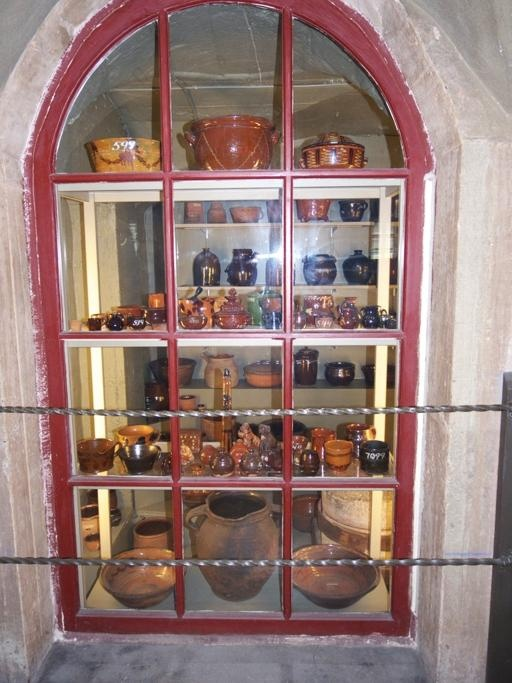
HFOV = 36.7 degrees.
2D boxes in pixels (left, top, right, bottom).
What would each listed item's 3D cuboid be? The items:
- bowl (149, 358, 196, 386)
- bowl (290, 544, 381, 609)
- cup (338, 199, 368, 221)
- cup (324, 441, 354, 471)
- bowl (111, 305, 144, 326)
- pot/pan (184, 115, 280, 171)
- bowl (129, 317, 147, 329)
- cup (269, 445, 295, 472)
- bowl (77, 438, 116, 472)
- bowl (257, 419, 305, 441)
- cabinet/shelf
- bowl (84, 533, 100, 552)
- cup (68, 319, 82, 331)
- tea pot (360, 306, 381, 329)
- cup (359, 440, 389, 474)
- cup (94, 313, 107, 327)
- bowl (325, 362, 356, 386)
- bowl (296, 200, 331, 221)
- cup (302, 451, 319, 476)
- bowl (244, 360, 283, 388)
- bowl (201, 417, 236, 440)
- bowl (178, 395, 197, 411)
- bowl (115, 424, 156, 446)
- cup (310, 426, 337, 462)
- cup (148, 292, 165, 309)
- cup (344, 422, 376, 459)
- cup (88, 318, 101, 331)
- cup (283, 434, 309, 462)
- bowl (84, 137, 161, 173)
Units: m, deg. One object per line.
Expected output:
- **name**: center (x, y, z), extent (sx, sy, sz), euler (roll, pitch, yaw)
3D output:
- **bowl**: center (-0.293, 0.095, 2.665), extent (0.134, 0.049, 0.120), euler (0, 10, -9)
- **bowl**: center (0.223, 0.638, 2.156), extent (0.245, 0.155, 0.316), euler (-1, 5, 2)
- **cup**: center (0.306, -0.415, 2.448), extent (0.114, 0.057, 0.075), euler (0, -1, 9)
- **cup**: center (0.221, 0.314, 2.127), extent (0.086, 0.056, 0.069), euler (-2, 7, -2)
- **bowl**: center (-0.351, -0.073, 2.128), extent (0.090, 0.053, 0.061), euler (2, 11, 2)
- **pot/pan**: center (-0.044, -0.523, 2.114), extent (0.272, 0.127, 0.224), euler (4, 6, 24)
- **bowl**: center (-0.321, -0.050, 2.086), extent (0.039, 0.023, 0.036), euler (1, 2, 0)
- **cup**: center (0.067, 0.317, 2.086), extent (0.086, 0.065, 0.077), euler (0, 3, -6)
- **bowl**: center (-0.451, 0.314, 2.138), extent (0.098, 0.053, 0.088), euler (1, 0, -2)
- **bowl**: center (0.076, 0.270, 2.361), extent (0.144, 0.049, 0.142), euler (1, -2, 0)
- **cabinet/shelf**: center (-0.100, 0.121, 2.373), extent (1.069, 1.170, 1.397), euler (0, 6, 9)
- **bowl**: center (-0.488, 0.592, 2.286), extent (0.054, 0.042, 0.057), euler (-1, 19, 0)
- **cup**: center (-0.487, -0.043, 2.051), extent (0.033, 0.026, 0.030), euler (4, 2, 0)
- **tea pot**: center (0.302, -0.065, 2.039), extent (0.053, 0.058, 0.052), euler (-1, 6, 0)
- **cup**: center (0.313, 0.308, 2.051), extent (0.091, 0.062, 0.083), euler (0, 0, 0)
- **cup**: center (-0.438, -0.061, 2.137), extent (0.042, 0.025, 0.038), euler (-3, 3, -12)
- **bowl**: center (0.319, 0.121, 2.939), extent (0.109, 0.062, 0.093), euler (1, 1, -11)
- **bowl**: center (0.163, -0.377, 2.215), extent (0.082, 0.051, 0.065), euler (-2, 13, -3)
- **cup**: center (0.144, 0.324, 2.072), extent (0.062, 0.064, 0.057), euler (1, -10, 0)
- **bowl**: center (0.029, 0.116, 2.830), extent (0.135, 0.070, 0.110), euler (1, 12, 9)
- **bowl**: center (-0.122, 0.268, 2.448), extent (0.091, 0.054, 0.081), euler (0, 4, 3)
- **bowl**: center (-0.230, 0.201, 2.578), extent (0.081, 0.048, 0.073), euler (2, 2, -17)
- **bowl**: center (-0.368, 0.278, 2.308), extent (0.072, 0.032, 0.079), euler (0, -3, 20)
- **cup**: center (0.203, 0.290, 2.290), extent (0.065, 0.060, 0.072), euler (0, 3, 5)
- **cup**: center (-0.289, -0.119, 2.215), extent (0.056, 0.044, 0.052), euler (1, 2, 0)
- **cup**: center (0.306, 0.283, 2.319), extent (0.063, 0.074, 0.093), euler (-1, -1, 32)
- **cup**: center (-0.443, -0.049, 2.103), extent (0.040, 0.037, 0.036), euler (1, 8, -13)
- **cup**: center (0.121, 0.301, 2.196), extent (0.085, 0.076, 0.085), euler (0, 2, 0)
- **bowl**: center (-0.342, -0.470, 2.013), extent (0.142, 0.040, 0.128), euler (6, 12, 32)
